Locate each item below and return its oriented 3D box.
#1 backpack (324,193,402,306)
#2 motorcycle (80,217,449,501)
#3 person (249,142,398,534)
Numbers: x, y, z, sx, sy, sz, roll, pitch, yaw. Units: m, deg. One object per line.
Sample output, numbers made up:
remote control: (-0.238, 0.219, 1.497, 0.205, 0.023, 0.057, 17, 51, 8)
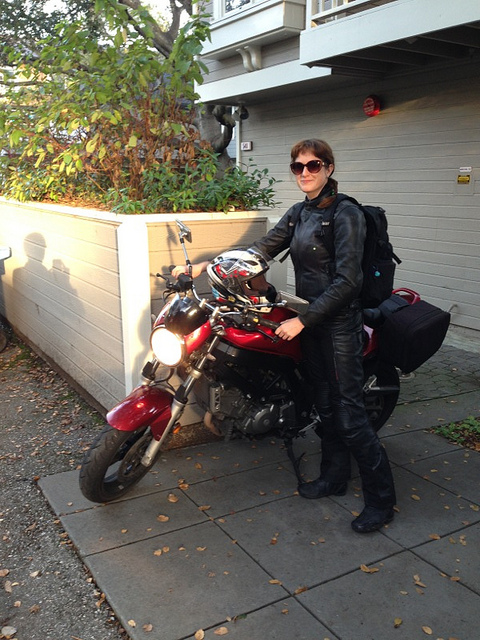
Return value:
backpack: (0.636, -0.357, 2.381, 0.427, 0.584, 0.256, -8, 9, -37)
motorcycle: (0.181, 0.249, 2.827, 2.392, 1.415, 0.853, -9, 18, -27)
person: (0.540, 0.068, 2.498, 0.577, 1.975, 0.672, -2, 7, 5)
